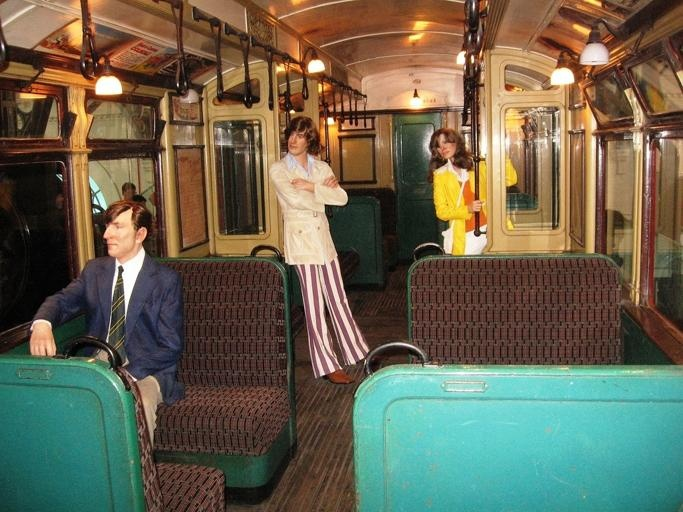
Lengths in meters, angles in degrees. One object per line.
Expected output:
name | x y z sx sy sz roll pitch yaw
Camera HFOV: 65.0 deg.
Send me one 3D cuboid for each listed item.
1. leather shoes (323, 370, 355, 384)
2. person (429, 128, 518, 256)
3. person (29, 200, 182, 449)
leather shoes | -0.024 1.142 5.091 0.221 0.091 0.121 3 10 24
person | 1.107 -0.580 5.030 0.857 1.097 0.351 -9 4 11
person | -1.306 0.417 3.053 0.775 1.411 0.628 -5 9 -18
